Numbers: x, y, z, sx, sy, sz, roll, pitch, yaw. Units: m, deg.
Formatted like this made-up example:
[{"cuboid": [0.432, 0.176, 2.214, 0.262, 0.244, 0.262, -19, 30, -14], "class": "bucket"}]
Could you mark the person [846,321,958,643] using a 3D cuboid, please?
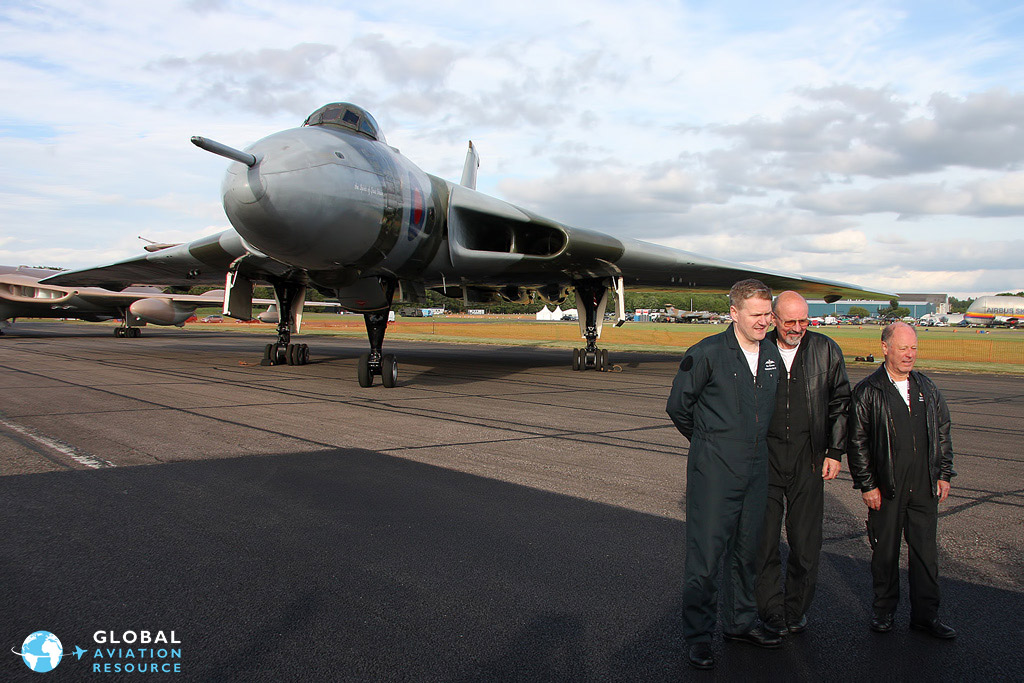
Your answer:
[{"cuboid": [2.745, 0.887, 3.838, 0.748, 2.048, 0.775, 6, 6, 13], "class": "person"}]

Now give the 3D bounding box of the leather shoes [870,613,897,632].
[{"cuboid": [2.450, 1.839, 3.616, 0.128, 0.100, 0.075, 4, 6, 15], "class": "leather shoes"}]

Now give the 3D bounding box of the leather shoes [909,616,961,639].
[{"cuboid": [2.783, 1.861, 3.607, 0.243, 0.070, 0.098, -2, 3, 40], "class": "leather shoes"}]

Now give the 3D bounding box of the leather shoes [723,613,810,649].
[{"cuboid": [1.676, 1.870, 3.582, 0.620, 0.162, 0.166, -3, 16, -8], "class": "leather shoes"}]

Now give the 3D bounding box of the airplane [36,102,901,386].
[{"cuboid": [-1.848, -2.148, 16.067, 14.760, 6.658, 12.715, -1, 6, -36], "class": "airplane"}]

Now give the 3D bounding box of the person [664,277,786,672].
[{"cuboid": [1.409, 0.765, 3.478, 0.796, 2.326, 0.761, 4, 6, -7], "class": "person"}]
